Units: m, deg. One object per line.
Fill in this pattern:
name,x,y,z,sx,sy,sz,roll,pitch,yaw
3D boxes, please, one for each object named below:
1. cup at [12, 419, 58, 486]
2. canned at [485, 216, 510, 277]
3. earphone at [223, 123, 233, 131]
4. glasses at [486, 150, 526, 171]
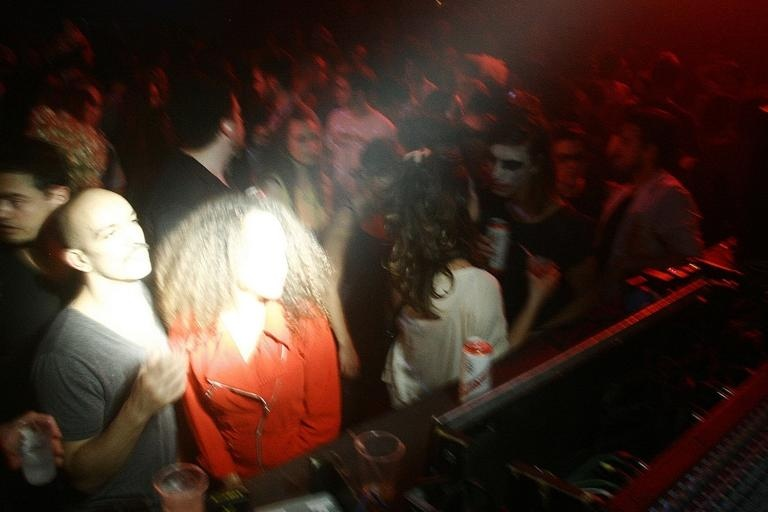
cup,-1.257,0.714,2.172,0.135,0.208,0.078,-5,8,-29
canned,0.593,-0.063,3.131,0.063,0.255,0.170,3,2,43
earphone,-0.603,-0.499,2.332,0.028,0.006,0.027,-24,41,-20
glasses,0.630,-0.493,3.065,0.128,0.044,0.094,15,1,23
